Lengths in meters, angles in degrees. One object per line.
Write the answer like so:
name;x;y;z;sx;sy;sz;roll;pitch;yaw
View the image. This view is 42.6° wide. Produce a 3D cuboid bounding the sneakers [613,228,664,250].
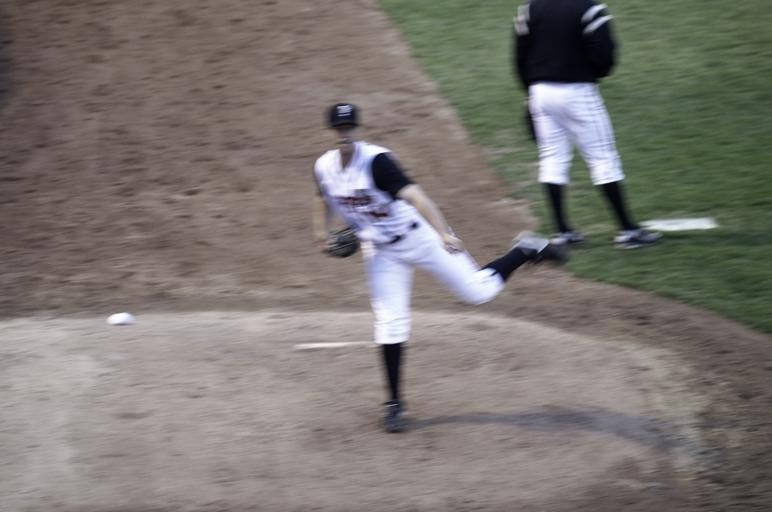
sneakers;2.651;-0.179;10.465;0.530;0.198;0.121;-7;-68;8
